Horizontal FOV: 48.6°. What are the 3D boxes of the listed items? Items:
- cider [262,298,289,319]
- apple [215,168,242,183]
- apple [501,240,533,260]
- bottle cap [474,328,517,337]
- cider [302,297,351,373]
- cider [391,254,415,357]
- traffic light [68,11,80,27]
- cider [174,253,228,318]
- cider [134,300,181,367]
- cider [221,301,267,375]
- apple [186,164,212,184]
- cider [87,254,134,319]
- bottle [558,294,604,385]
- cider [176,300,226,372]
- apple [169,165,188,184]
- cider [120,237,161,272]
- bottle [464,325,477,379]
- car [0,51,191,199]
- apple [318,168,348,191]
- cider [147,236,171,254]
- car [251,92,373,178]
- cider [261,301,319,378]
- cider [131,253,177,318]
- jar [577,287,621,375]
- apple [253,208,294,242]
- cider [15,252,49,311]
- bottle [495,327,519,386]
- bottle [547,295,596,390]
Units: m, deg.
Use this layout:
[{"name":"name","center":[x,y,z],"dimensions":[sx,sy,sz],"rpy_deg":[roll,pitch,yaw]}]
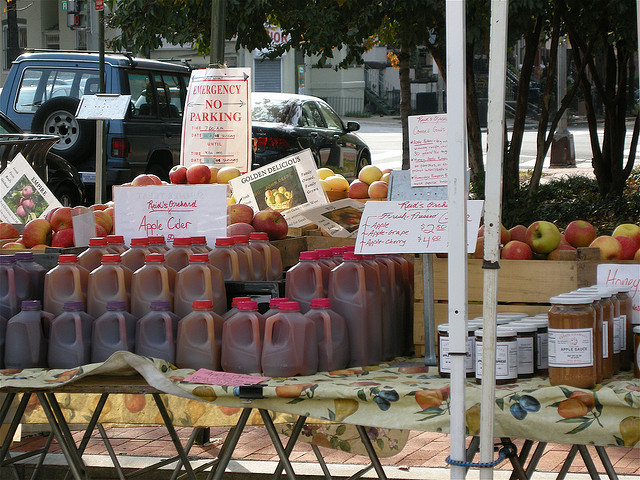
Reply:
[{"name":"cider","center":[-0.175,0.260,2.730],"dimensions":[0.095,0.108,0.059],"rpy_deg":[-3,-3,34]},{"name":"apple","center":[-0.663,-0.474,5.116],"dimensions":[0.146,0.157,0.147],"rpy_deg":[-7,-4,2]},{"name":"apple","center":[0.910,0.059,3.253],"dimensions":[0.098,0.106,0.104],"rpy_deg":[-1,-7,-1]},{"name":"bottle cap","center":[0.604,0.318,2.419],"dimensions":[0.064,0.022,0.064],"rpy_deg":[1,-1,-29]},{"name":"cider","center":[0.021,0.387,2.826],"dimensions":[0.175,0.287,0.209],"rpy_deg":[-5,2,-1]},{"name":"cider","center":[0.403,0.294,3.219],"dimensions":[0.113,0.431,0.135],"rpy_deg":[5,12,28]},{"name":"traffic light","center":[-6.120,-5.544,17.574],"dimensions":[0.285,0.359,0.294],"rpy_deg":[-1,5,-3]},{"name":"cider","center":[-0.494,0.167,2.995],"dimensions":[0.189,0.262,0.247],"rpy_deg":[3,8,20]},{"name":"cider","center":[-0.643,0.356,2.895],"dimensions":[0.175,0.250,0.214],"rpy_deg":[5,10,27]},{"name":"cider","center":[-0.299,0.388,2.789],"dimensions":[0.167,0.296,0.204],"rpy_deg":[4,1,-11]},{"name":"apple","center":[-0.841,-0.456,4.906],"dimensions":[0.129,0.143,0.138],"rpy_deg":[7,20,17]},{"name":"cider","center":[-0.887,0.196,2.986],"dimensions":[0.187,0.261,0.199],"rpy_deg":[-2,5,-17]},{"name":"bottle","center":[0.904,0.363,2.508],"dimensions":[0.160,0.285,0.170],"rpy_deg":[-2,-2,0]},{"name":"cider","center":[-0.472,0.388,2.856],"dimensions":[0.150,0.301,0.204],"rpy_deg":[2,3,9]},{"name":"apple","center":[-0.980,-0.475,4.976],"dimensions":[0.116,0.126,0.118],"rpy_deg":[-21,6,-19]},{"name":"cider","center":[-0.800,0.070,3.171],"dimensions":[0.133,0.197,0.075],"rpy_deg":[2,-3,-22]},{"name":"bottle","center":[0.549,0.420,2.561],"dimensions":[0.037,0.204,0.130],"rpy_deg":[0,5,13]},{"name":"car","center":[-3.170,-2.000,12.188],"dimensions":[2.229,2.278,4.126],"rpy_deg":[6,13,19]},{"name":"apple","center":[0.113,-0.508,5.832],"dimensions":[0.135,0.149,0.268],"rpy_deg":[-3,5,-13]},{"name":"cider","center":[-0.758,0.011,3.353],"dimensions":[0.077,0.149,0.086],"rpy_deg":[-2,5,0]},{"name":"car","center":[-0.320,-1.998,13.587],"dimensions":[1.505,1.227,2.720],"rpy_deg":[2,9,35]},{"name":"cider","center":[-0.112,0.389,2.663],"dimensions":[0.179,0.303,0.283],"rpy_deg":[5,11,32]},{"name":"cider","center":[-0.699,0.216,3.038],"dimensions":[0.160,0.318,0.180],"rpy_deg":[-1,7,-2]},{"name":"jar","center":[1.122,0.347,2.758],"dimensions":[0.166,0.328,0.151],"rpy_deg":[-3,8,-17]},{"name":"apple","center":[-0.259,-0.094,4.044],"dimensions":[0.193,0.214,0.227],"rpy_deg":[-7,9,-32]},{"name":"cider","center":[-1.326,0.196,3.168],"dimensions":[0.141,0.286,0.160],"rpy_deg":[-1,9,-23]},{"name":"bottle","center":[0.664,0.418,2.513],"dimensions":[0.085,0.199,0.024],"rpy_deg":[-2,5,-20]},{"name":"bottle","center":[0.883,0.364,2.496],"dimensions":[0.176,0.331,0.184],"rpy_deg":[-1,0,0]}]
